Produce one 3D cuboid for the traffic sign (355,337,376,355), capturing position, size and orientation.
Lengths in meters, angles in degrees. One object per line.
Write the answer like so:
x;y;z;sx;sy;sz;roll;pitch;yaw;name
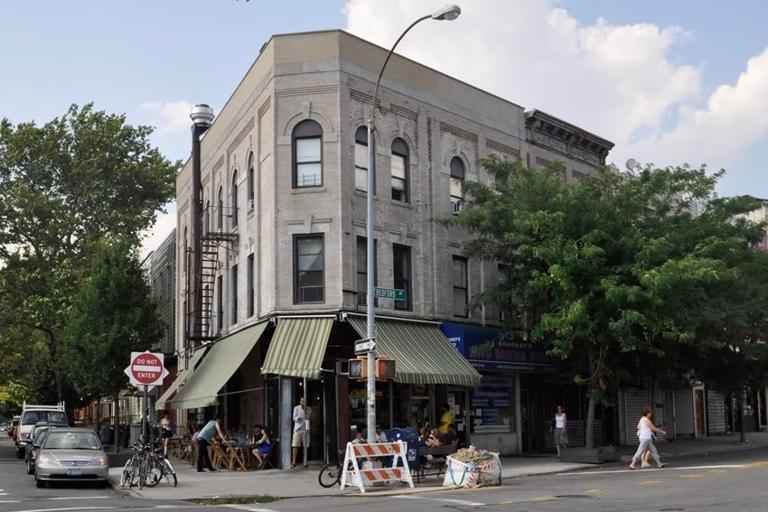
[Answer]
-0.755;3.727;45.840;1.108;0.617;0.407;-17;-22;42;traffic sign
